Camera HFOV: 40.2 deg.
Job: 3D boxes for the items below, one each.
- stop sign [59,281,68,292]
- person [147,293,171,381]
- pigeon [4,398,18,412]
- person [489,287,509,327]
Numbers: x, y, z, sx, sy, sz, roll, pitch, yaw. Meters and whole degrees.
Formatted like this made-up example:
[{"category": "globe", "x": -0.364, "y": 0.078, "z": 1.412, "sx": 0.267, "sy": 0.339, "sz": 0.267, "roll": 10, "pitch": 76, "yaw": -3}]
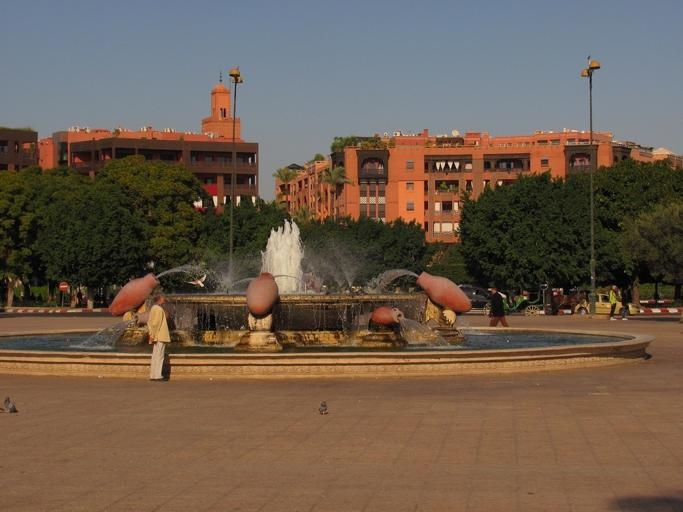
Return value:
[{"category": "stop sign", "x": -17.753, "y": 1.917, "z": 60.062, "sx": 0.775, "sy": 0.678, "sz": 0.787, "roll": 0, "pitch": -2, "yaw": -6}, {"category": "person", "x": -3.323, "y": 1.611, "z": 17.162, "sx": 0.345, "sy": 1.057, "sz": 0.491, "roll": -1, "pitch": 1, "yaw": -14}, {"category": "pigeon", "x": -4.812, "y": 2.193, "z": 13.664, "sx": 0.195, "sy": 0.185, "sz": 0.329, "roll": -1, "pitch": 1, "yaw": -20}, {"category": "person", "x": 4.917, "y": 1.704, "z": 29.386, "sx": 0.741, "sy": 1.441, "sz": 0.627, "roll": 0, "pitch": 11, "yaw": 12}]
